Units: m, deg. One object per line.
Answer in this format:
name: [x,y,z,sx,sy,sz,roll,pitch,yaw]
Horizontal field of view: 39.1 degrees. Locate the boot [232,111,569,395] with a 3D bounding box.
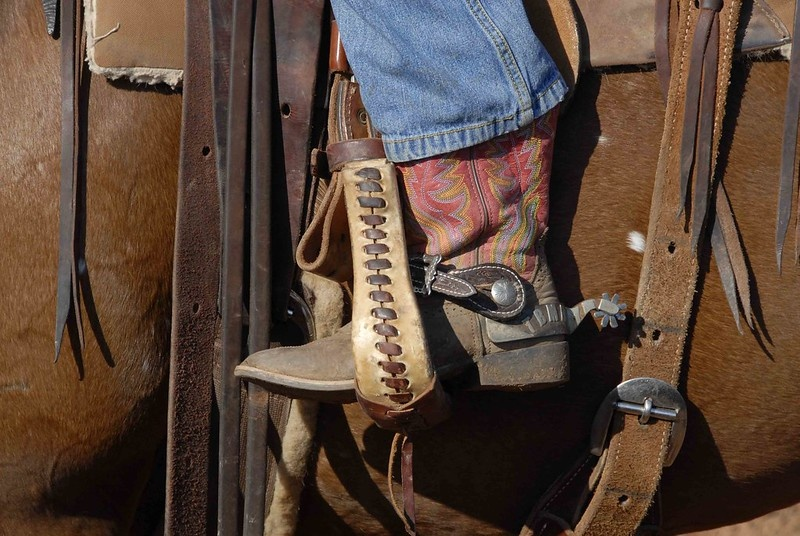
boot: [0.004,-0.012,2.359,0.685,0.538,0.248,-7,13,3]

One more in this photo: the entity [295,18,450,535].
entity: [-0.051,0.005,2.334,0.239,1.099,0.300,-7,0,0]
